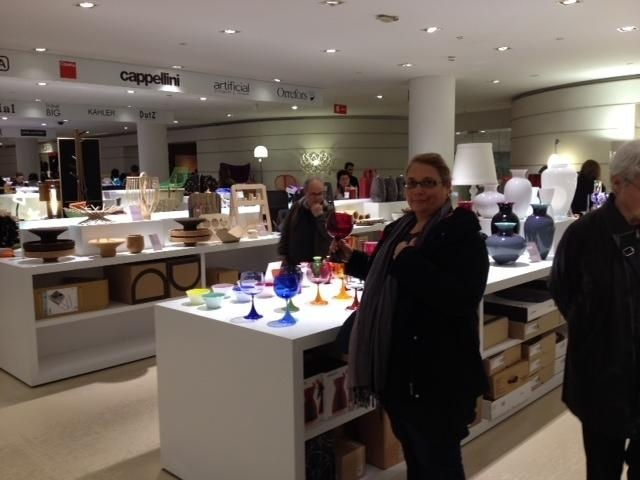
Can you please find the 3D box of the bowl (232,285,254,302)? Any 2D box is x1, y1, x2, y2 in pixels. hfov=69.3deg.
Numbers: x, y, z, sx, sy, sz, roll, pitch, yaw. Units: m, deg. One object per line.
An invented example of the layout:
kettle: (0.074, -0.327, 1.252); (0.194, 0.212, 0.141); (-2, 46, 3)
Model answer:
bowl: (-0.462, 0.324, 2.709); (0.109, 0.076, 0.113); (0, -1, 0)

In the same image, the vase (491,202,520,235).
vase: (1.457, -0.126, 3.638); (0.199, 0.321, 0.200); (5, -6, -23)

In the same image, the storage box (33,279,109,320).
storage box: (-2.215, 0.531, 4.161); (0.588, 0.273, 0.069); (-8, 11, -33)

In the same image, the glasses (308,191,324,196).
glasses: (-0.008, -0.423, 4.211); (0.148, 0.042, 0.083); (-9, 13, -36)

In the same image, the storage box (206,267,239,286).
storage box: (-1.108, 0.389, 5.127); (0.233, 0.143, 0.240); (5, 7, 41)

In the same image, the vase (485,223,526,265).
vase: (1.396, 0.035, 3.538); (0.291, 0.334, 0.313); (1, -2, -39)

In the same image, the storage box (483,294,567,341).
storage box: (1.445, 0.545, 3.384); (0.368, 0.140, 0.342); (-5, 8, -37)

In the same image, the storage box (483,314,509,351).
storage box: (1.200, 0.627, 3.169); (0.295, 0.174, 0.139); (-2, 1, -38)

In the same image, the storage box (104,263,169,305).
storage box: (-1.780, 0.357, 4.585); (0.414, 0.340, 0.433); (4, 8, 40)

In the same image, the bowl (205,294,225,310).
bowl: (-0.585, 0.343, 2.612); (0.082, 0.059, 0.088); (-3, 2, 0)

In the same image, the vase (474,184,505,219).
vase: (1.431, -0.316, 3.946); (0.269, 0.311, 0.259); (1, 1, 38)
